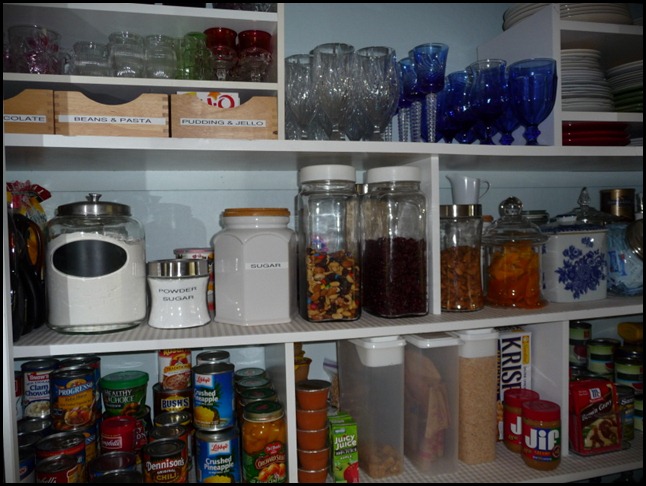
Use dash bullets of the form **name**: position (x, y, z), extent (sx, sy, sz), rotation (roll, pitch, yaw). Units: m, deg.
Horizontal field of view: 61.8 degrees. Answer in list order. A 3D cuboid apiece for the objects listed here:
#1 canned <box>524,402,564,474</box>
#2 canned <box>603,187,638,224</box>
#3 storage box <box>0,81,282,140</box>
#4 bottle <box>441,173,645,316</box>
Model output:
- **canned**: position (0.643, 0.568, 1.602), extent (0.117, 0.187, 0.119), rotation (-1, 3, 4)
- **canned**: position (1.068, -0.132, 1.948), extent (0.127, 0.134, 0.128), rotation (3, -3, -36)
- **storage box**: position (-0.466, -0.336, 1.428), extent (0.684, 0.150, 0.146), rotation (-5, 7, -16)
- **bottle**: position (0.615, -0.002, 1.705), extent (0.556, 0.408, 0.342), rotation (-3, 4, -8)
